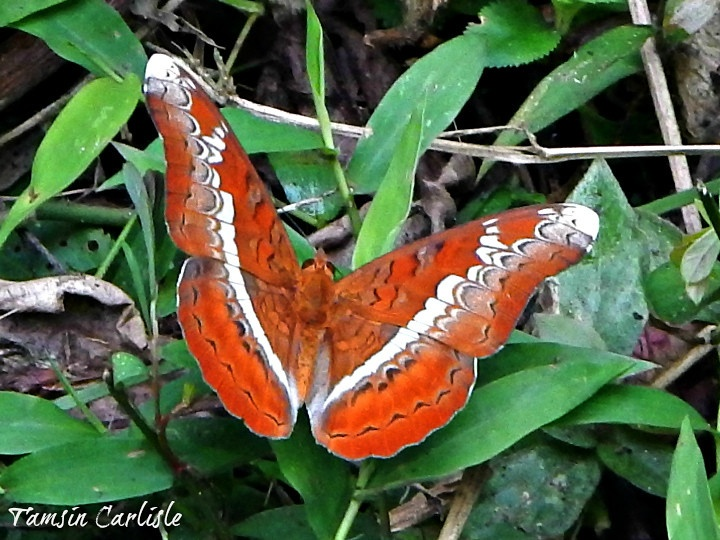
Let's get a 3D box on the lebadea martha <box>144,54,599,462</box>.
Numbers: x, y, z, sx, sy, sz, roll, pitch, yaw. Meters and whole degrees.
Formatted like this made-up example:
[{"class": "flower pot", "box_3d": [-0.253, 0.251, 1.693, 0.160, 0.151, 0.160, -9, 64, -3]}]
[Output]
[{"class": "lebadea martha", "box_3d": [-0.064, 0.031, 1.525, 0.825, 0.199, 0.557, 20, 83, 2]}]
